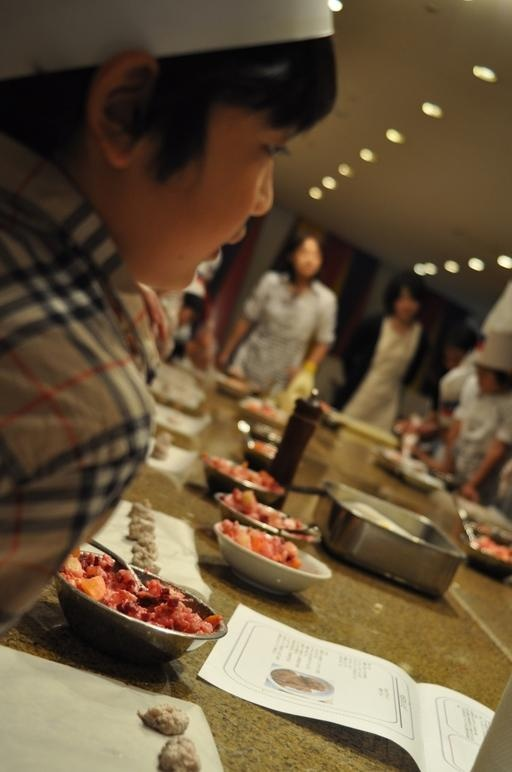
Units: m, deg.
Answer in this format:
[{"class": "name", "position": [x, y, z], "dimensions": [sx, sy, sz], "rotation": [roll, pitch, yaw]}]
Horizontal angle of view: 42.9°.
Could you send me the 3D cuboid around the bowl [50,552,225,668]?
[{"class": "bowl", "position": [-0.097, 0.169, 0.553], "dimensions": [0.109, 0.037, 0.103], "rotation": [21, -5, 2]}]
